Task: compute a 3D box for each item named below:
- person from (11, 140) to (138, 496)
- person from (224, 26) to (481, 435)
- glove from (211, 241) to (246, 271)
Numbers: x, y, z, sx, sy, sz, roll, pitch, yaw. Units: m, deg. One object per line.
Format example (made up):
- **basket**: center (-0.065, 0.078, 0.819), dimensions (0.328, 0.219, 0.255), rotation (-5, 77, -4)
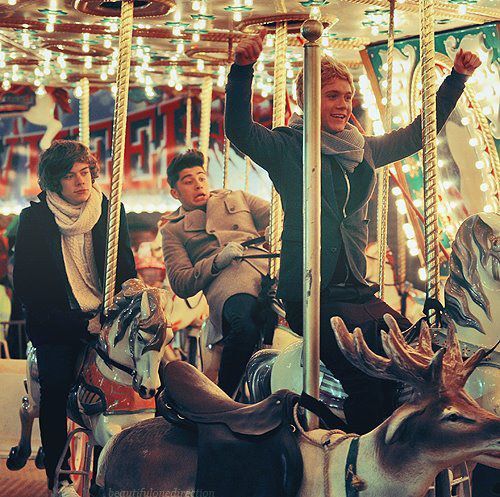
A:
- **person**: center (-0.999, 0.329, 4.314), dimensions (0.496, 1.796, 0.567), rotation (-1, 8, -10)
- **person**: center (0.420, -0.126, 3.740), dimensions (0.770, 1.617, 1.309), rotation (5, 9, 29)
- **glove**: center (-0.145, 0.040, 4.981), dimensions (0.206, 0.077, 0.117), rotation (-38, 31, -6)
